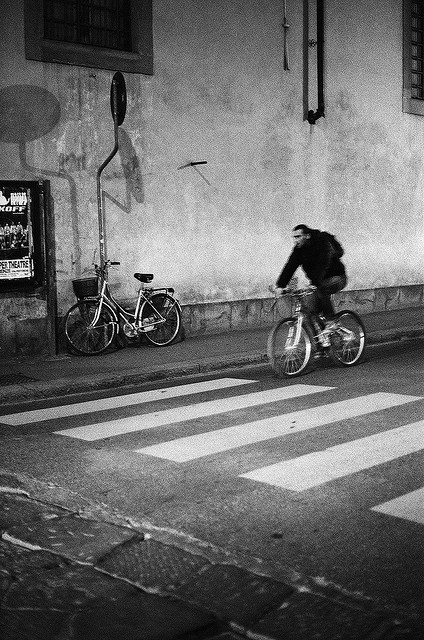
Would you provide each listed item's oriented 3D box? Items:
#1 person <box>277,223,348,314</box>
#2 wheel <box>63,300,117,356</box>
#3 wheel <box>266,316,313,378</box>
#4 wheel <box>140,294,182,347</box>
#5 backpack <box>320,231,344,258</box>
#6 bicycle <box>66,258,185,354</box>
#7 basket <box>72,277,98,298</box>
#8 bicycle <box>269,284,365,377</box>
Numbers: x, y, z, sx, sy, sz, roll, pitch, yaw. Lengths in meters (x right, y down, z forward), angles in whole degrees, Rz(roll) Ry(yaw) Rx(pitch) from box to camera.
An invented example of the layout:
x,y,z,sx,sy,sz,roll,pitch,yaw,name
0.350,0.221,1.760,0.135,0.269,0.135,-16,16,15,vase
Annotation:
x,y,z,sx,sy,sz,roll,pitch,yaw,name
1.243,-0.447,8.857,0.666,1.426,0.511,-5,-3,-35,person
-1.722,0.109,10.645,0.766,1.115,0.197,-1,42,-11,wheel
0.904,0.312,8.695,0.759,0.710,0.196,-5,5,-44,wheel
-0.745,-0.016,11.471,0.657,0.930,0.158,-19,36,-8,wheel
1.418,-0.879,8.901,0.150,0.296,0.446,2,5,34,backpack
-1.216,-0.283,11.506,2.285,1.315,1.377,-3,5,-27,bicycle
-1.797,-0.454,10.762,0.353,0.272,0.275,-2,4,-14,basket
1.184,0.103,9.160,1.263,1.145,0.663,-11,6,-42,bicycle
